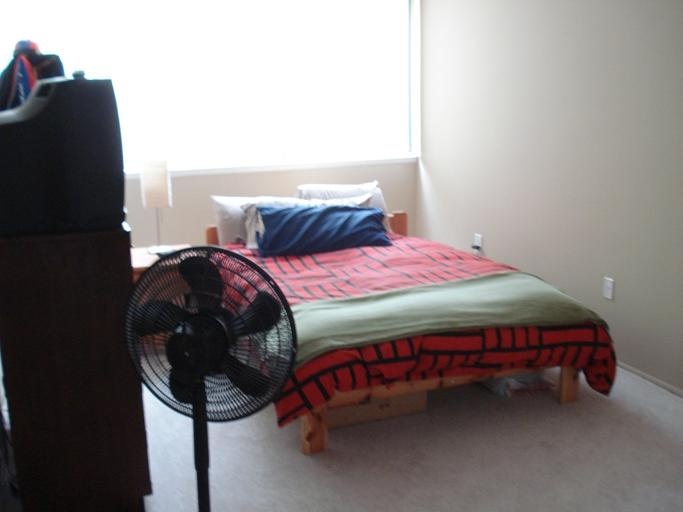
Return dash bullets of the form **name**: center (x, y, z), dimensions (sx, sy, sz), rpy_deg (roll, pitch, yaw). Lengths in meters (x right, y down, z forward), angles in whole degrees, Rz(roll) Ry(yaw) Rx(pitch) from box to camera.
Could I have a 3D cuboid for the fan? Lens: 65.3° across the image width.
- **fan**: center (-0.379, 0.361, 1.558), dimensions (0.504, 0.796, 0.202), rpy_deg (5, 18, 24)
